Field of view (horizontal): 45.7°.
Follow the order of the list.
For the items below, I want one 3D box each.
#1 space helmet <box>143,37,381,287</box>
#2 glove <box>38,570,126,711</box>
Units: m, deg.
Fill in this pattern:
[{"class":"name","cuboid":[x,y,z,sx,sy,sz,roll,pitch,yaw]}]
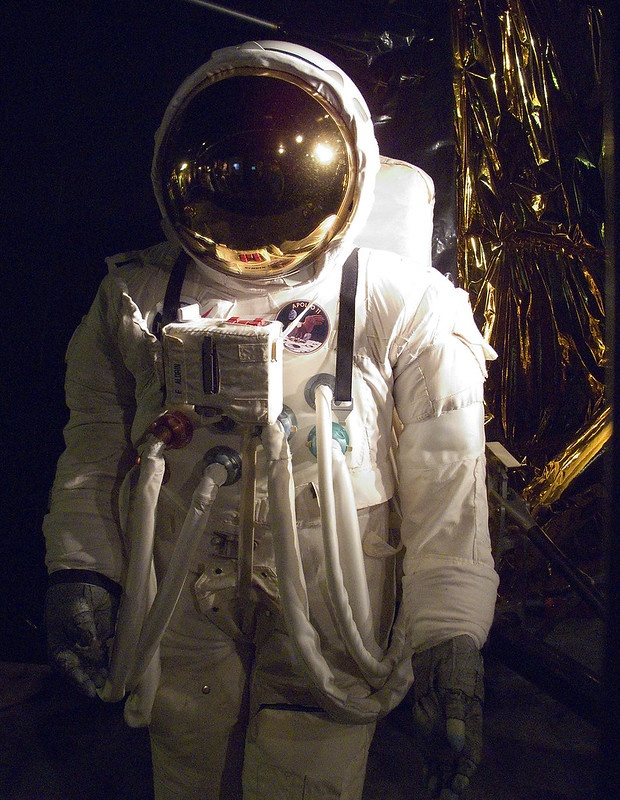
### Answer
[{"class":"space helmet","cuboid":[-0.063,-0.383,1.324,0.316,0.401,0.385,1,6,6]},{"class":"glove","cuboid":[-0.397,0.415,1.323,0.107,0.221,0.132,4,5,14]}]
